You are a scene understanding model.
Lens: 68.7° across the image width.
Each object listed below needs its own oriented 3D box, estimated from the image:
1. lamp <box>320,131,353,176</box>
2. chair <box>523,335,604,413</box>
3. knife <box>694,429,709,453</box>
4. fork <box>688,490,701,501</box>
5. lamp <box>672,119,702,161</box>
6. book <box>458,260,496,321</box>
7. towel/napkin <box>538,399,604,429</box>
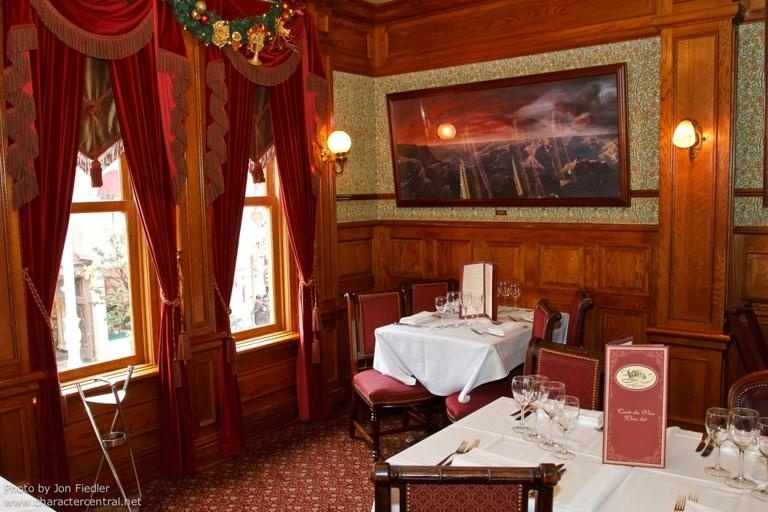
[{"bbox_3d":[-0.524,-1.084,5.940,0.266,0.425,0.209,6,12,26],"label":"lamp"},{"bbox_3d":[1.205,0.742,3.575,0.343,0.647,0.361,1,-12,32],"label":"chair"},{"bbox_3d":[1.678,0.978,2.966,0.022,0.097,0.091,35,-15,5],"label":"knife"},{"bbox_3d":[1.439,1.099,2.602,0.047,0.011,0.068,6,12,26],"label":"fork"},{"bbox_3d":[2.669,-1.007,4.905,0.271,0.343,0.123,6,12,27],"label":"lamp"},{"bbox_3d":[0.875,0.303,5.185,0.453,0.616,0.387,0,-1,-34],"label":"book"},{"bbox_3d":[1.129,0.905,3.217,0.192,0.054,0.199,11,17,32],"label":"towel/napkin"}]
